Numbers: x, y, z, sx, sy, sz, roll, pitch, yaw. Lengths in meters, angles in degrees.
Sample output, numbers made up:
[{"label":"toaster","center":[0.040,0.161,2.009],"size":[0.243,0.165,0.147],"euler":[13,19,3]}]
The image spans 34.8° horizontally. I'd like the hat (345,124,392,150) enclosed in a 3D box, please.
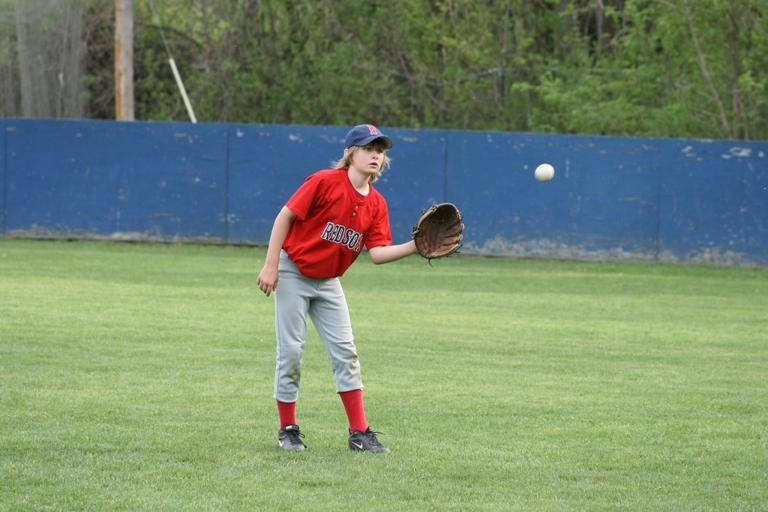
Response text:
[{"label":"hat","center":[-0.245,-1.532,15.817],"size":[0.332,0.215,0.440],"euler":[-1,-6,-42]}]
